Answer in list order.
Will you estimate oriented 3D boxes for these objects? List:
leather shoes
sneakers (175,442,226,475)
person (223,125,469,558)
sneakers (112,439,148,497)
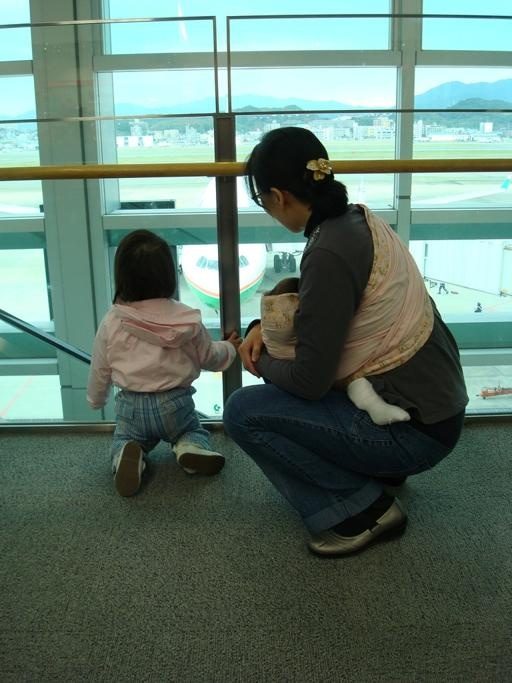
[{"bbox_3d":[0.219,0.378,1.247,0.239,0.088,0.078,-15,27,-11],"label":"leather shoes"},{"bbox_3d":[-0.142,0.284,1.498,0.136,0.057,0.117,9,3,-11],"label":"sneakers"},{"bbox_3d":[0.171,0.002,1.163,0.478,0.791,0.350,3,25,9],"label":"person"},{"bbox_3d":[-0.291,0.296,1.410,0.085,0.125,0.059,3,-22,-1],"label":"sneakers"}]
